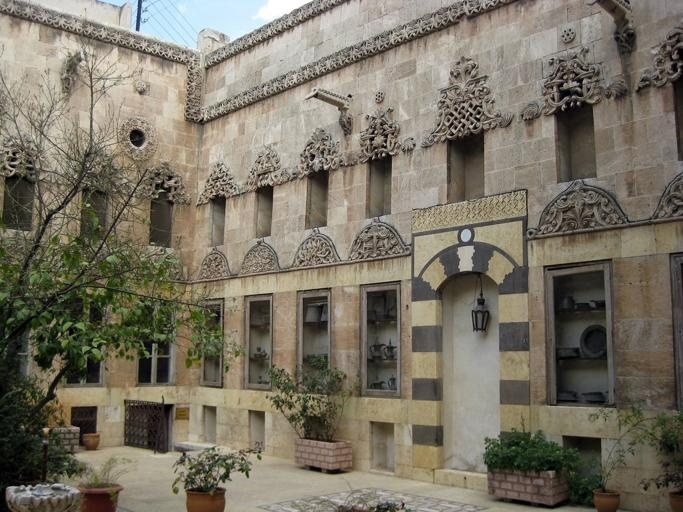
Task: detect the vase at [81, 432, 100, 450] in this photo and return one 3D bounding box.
[{"bbox_3d":[-6.179,4.559,19.659,0.355,0.322,0.381,2,-9,-16],"label":"vase"}]

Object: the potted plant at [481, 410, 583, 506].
[{"bbox_3d":[3.493,3.665,14.699,1.591,1.487,1.129,-7,-11,44],"label":"potted plant"}]

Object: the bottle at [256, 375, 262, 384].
[{"bbox_3d":[-2.058,3.094,19.893,0.123,0.197,0.134,0,-13,0],"label":"bottle"}]

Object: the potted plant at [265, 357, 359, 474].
[{"bbox_3d":[-0.702,3.654,17.793,1.465,1.898,1.014,0,-4,15],"label":"potted plant"}]

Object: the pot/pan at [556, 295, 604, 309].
[{"bbox_3d":[4.512,0.916,15.109,0.693,0.295,0.283,-1,-5,34],"label":"pot/pan"}]

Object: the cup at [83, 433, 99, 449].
[{"bbox_3d":[-6.163,4.586,19.662,0.369,0.393,0.350,1,-14,0],"label":"cup"}]

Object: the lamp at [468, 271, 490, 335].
[{"bbox_3d":[2.822,0.968,16.431,0.372,1.178,0.345,-7,-15,28],"label":"lamp"}]

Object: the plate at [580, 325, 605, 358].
[{"bbox_3d":[4.706,1.615,14.976,0.470,0.580,0.189,-14,-12,32],"label":"plate"}]

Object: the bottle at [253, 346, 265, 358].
[{"bbox_3d":[-2.051,2.421,20.056,0.212,0.244,0.233,0,-11,-3],"label":"bottle"}]
